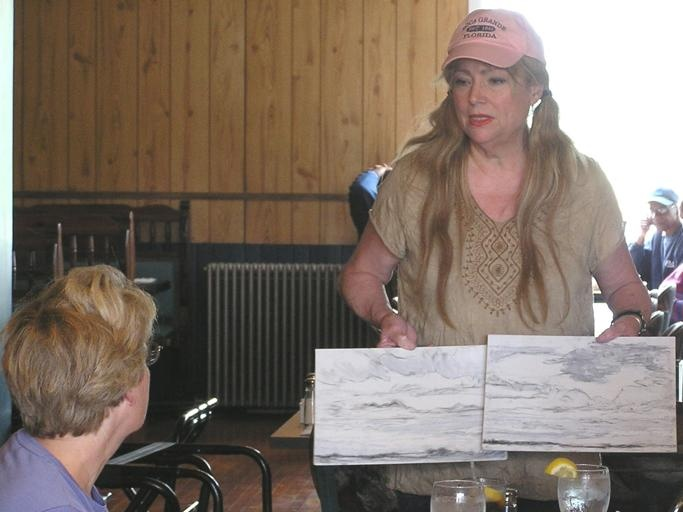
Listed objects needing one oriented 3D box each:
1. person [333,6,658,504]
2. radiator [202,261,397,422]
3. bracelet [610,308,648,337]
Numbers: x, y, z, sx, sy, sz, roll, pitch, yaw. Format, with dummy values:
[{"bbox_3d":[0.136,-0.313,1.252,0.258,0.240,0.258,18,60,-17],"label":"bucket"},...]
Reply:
[{"bbox_3d":[0.509,-0.247,3.381,1.008,1.108,0.457,1,5,-2],"label":"person"},{"bbox_3d":[-0.259,0.440,5.502,0.846,0.880,0.106,1,-1,-4],"label":"radiator"},{"bbox_3d":[0.943,0.220,3.365,0.092,0.121,0.071,-5,2,8],"label":"bracelet"}]
